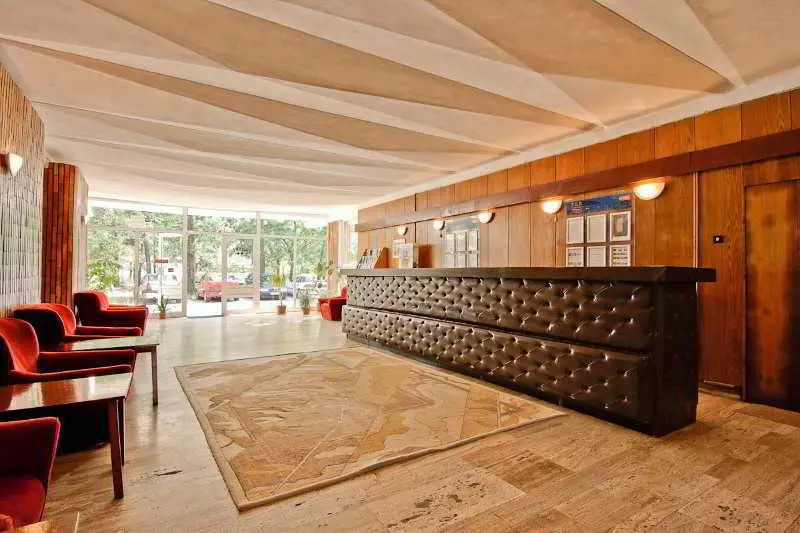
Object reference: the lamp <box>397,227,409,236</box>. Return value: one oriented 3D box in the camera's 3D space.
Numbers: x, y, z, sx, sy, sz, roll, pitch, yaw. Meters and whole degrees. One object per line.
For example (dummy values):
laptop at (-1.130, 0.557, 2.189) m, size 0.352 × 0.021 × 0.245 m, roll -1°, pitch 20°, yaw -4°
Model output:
lamp at (0.076, -0.802, 10.698) m, size 0.144 × 0.153 × 0.253 m, roll 10°, pitch -12°, yaw -35°

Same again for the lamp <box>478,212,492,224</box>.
lamp at (1.542, -0.889, 8.645) m, size 0.073 × 0.212 × 0.356 m, roll 0°, pitch 0°, yaw -30°

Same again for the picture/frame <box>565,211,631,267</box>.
picture/frame at (2.886, -0.402, 6.850) m, size 0.079 × 0.841 × 1.025 m, roll 6°, pitch -5°, yaw -36°

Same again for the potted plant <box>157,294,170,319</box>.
potted plant at (-6.001, 0.980, 12.084) m, size 0.216 × 0.602 × 0.543 m, roll 0°, pitch 0°, yaw -25°

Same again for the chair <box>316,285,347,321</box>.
chair at (-1.722, 0.906, 11.911) m, size 0.992 × 0.928 × 0.972 m, roll 3°, pitch -7°, yaw -31°

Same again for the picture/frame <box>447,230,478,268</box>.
picture/frame at (1.212, -0.341, 9.007) m, size 0.140 × 0.661 × 0.904 m, roll 4°, pitch -7°, yaw -33°

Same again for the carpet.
carpet at (-0.688, 1.639, 5.551) m, size 3.241 × 0.617 × 3.517 m, roll 1°, pitch -1°, yaw -38°

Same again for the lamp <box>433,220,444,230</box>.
lamp at (0.798, -0.833, 9.663) m, size 0.233 × 0.138 × 0.215 m, roll -1°, pitch -7°, yaw 6°

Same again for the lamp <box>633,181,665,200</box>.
lamp at (3.303, -1.022, 6.327) m, size 0.097 × 0.206 × 0.345 m, roll -11°, pitch 9°, yaw -41°

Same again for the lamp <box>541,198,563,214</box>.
lamp at (2.388, -0.942, 7.485) m, size 0.089 × 0.231 × 0.361 m, roll 0°, pitch 0°, yaw -33°
